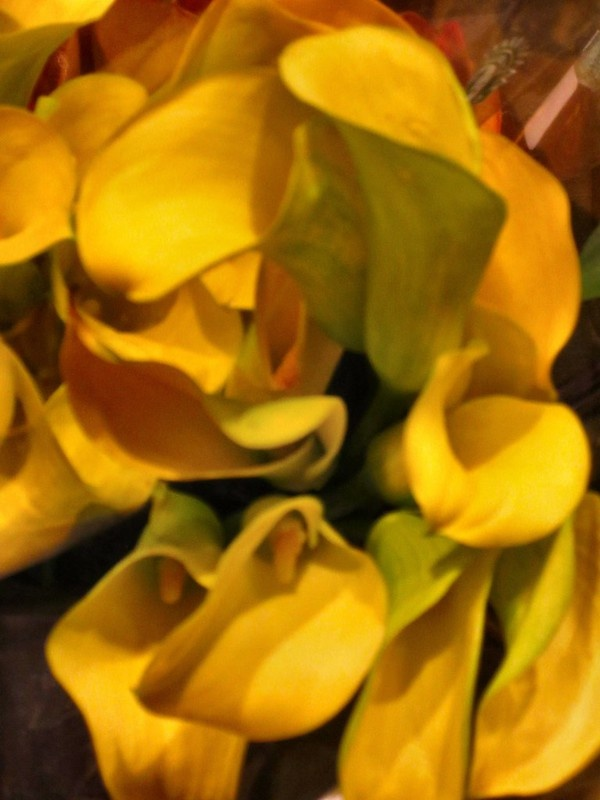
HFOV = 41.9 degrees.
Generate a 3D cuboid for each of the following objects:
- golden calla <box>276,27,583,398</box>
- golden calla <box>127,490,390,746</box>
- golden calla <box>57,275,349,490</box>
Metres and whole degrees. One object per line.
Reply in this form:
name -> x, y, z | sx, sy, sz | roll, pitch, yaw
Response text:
golden calla -> 0.033, -0.045, 0.172 | 0.070, 0.062, 0.050 | 18, 57, 9
golden calla -> -0.005, 0.052, 0.200 | 0.050, 0.023, 0.062 | 41, 80, 16
golden calla -> -0.014, -0.001, 0.174 | 0.053, 0.023, 0.051 | 6, 94, 15
